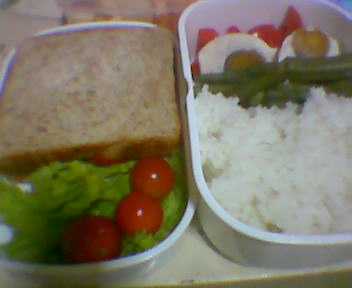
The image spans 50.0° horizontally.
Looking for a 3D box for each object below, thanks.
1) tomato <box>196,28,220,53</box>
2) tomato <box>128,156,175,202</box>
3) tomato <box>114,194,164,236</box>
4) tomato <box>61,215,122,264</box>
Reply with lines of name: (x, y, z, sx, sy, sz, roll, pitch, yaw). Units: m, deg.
tomato: (0.086, -0.307, 1.084, 0.080, 0.036, 0.041, -30, 67, -6)
tomato: (-0.072, 0.089, 1.051, 0.099, 0.120, 0.105, -2, 60, -10)
tomato: (-0.097, 0.190, 0.988, 0.132, 0.131, 0.137, 2, 102, -2)
tomato: (-0.209, 0.239, 0.952, 0.107, 0.103, 0.107, 10, 72, 5)
